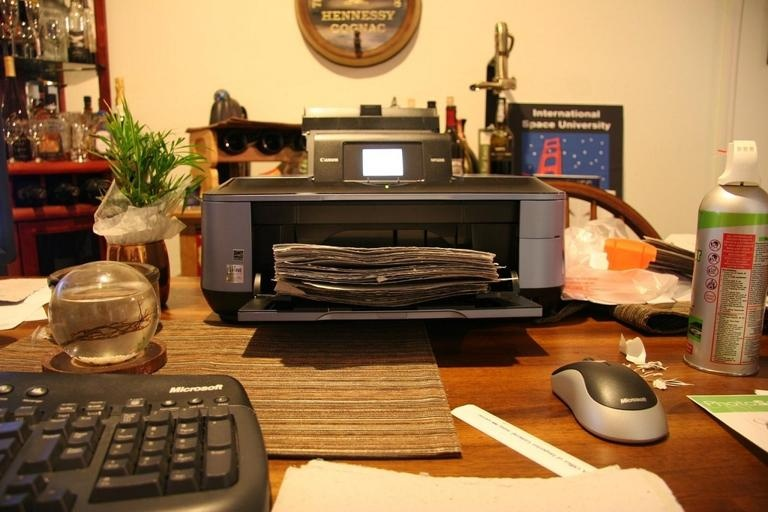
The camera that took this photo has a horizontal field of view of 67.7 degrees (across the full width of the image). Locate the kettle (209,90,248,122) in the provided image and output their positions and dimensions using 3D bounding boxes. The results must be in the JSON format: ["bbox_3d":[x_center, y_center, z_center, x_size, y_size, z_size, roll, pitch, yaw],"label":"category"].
[{"bbox_3d":[-0.610,-0.576,2.207,0.124,0.121,0.103,-6,17,-16],"label":"kettle"}]

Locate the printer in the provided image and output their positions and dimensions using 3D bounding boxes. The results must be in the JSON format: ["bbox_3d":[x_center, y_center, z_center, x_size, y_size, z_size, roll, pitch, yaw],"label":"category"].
[{"bbox_3d":[0.003,-0.079,1.181,0.746,0.323,0.506,-2,23,-5],"label":"printer"}]

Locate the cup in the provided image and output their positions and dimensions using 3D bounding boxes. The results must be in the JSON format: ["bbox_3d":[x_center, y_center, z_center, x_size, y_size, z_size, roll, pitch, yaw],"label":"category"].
[{"bbox_3d":[-0.516,0.071,1.099,0.199,0.089,0.173,0,1,-1],"label":"cup"}]

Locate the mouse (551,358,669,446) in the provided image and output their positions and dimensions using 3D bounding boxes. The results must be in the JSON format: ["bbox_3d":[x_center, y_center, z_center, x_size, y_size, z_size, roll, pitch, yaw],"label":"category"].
[{"bbox_3d":[0.361,0.204,0.918,0.150,0.072,0.218,-5,14,0],"label":"mouse"}]
